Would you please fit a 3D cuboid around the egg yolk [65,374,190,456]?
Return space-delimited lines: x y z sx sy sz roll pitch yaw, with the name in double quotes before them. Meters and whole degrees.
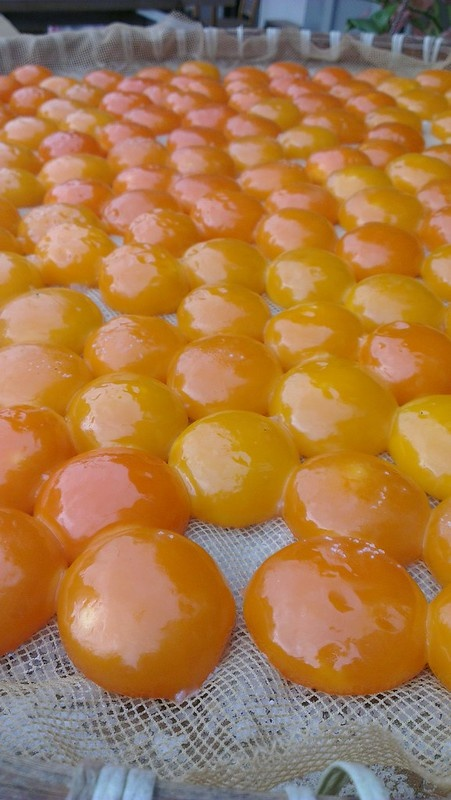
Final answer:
"egg yolk" -0.084 0.012 0.572 0.079 0.045 0.082 -13 44 -22

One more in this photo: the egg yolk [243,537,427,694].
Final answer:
"egg yolk" 0.074 0.141 0.432 0.123 0.063 0.089 7 29 3

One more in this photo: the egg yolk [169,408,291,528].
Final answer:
"egg yolk" 0.010 0.056 0.531 0.093 0.053 0.096 -3 49 -3
